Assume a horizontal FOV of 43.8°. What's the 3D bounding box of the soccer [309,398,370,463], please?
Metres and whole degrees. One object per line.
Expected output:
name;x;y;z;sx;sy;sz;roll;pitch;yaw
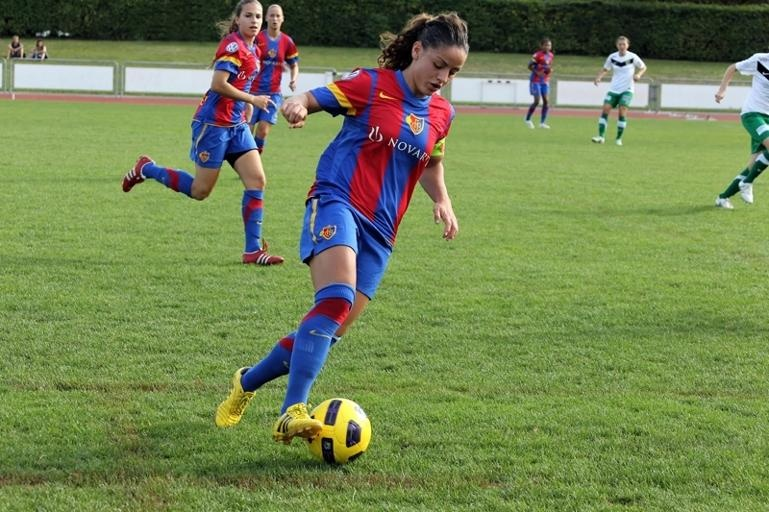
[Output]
soccer;-0.290;1.227;6.687;0.439;0.407;0.404;-1;0;0

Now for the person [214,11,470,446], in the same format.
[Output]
person;-0.207;-0.238;6.857;1.412;3.096;0.768;0;9;-37

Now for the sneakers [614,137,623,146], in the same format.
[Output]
sneakers;4.669;-2.269;19.104;0.113;0.124;0.317;-3;4;8

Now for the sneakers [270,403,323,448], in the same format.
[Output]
sneakers;-0.542;1.137;6.489;0.163;0.240;0.457;23;-29;-31

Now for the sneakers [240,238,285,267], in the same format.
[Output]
sneakers;-1.231;0.002;9.643;0.489;0.264;0.185;-1;7;-1

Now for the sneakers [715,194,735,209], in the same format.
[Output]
sneakers;4.418;-0.704;12.516;0.130;0.108;0.258;-27;28;-24
